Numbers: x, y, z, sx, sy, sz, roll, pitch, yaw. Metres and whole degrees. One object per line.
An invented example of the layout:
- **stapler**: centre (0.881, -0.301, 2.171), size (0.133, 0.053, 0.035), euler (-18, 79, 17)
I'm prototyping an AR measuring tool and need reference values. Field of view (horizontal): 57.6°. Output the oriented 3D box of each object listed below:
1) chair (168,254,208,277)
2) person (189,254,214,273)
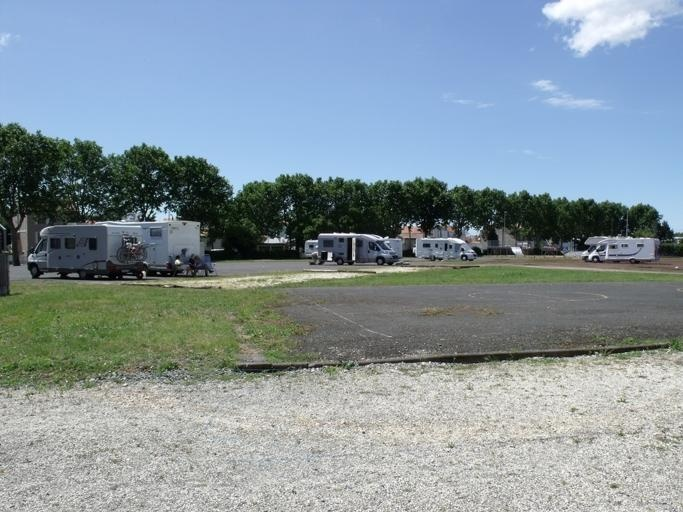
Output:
- **chair**: centre (-8.194, 0.536, 33.536), size (1.839, 1.164, 1.154), euler (-4, 6, -29)
- **person**: centre (-7.697, 0.472, 34.049), size (0.949, 1.056, 1.580), euler (0, -4, -13)
